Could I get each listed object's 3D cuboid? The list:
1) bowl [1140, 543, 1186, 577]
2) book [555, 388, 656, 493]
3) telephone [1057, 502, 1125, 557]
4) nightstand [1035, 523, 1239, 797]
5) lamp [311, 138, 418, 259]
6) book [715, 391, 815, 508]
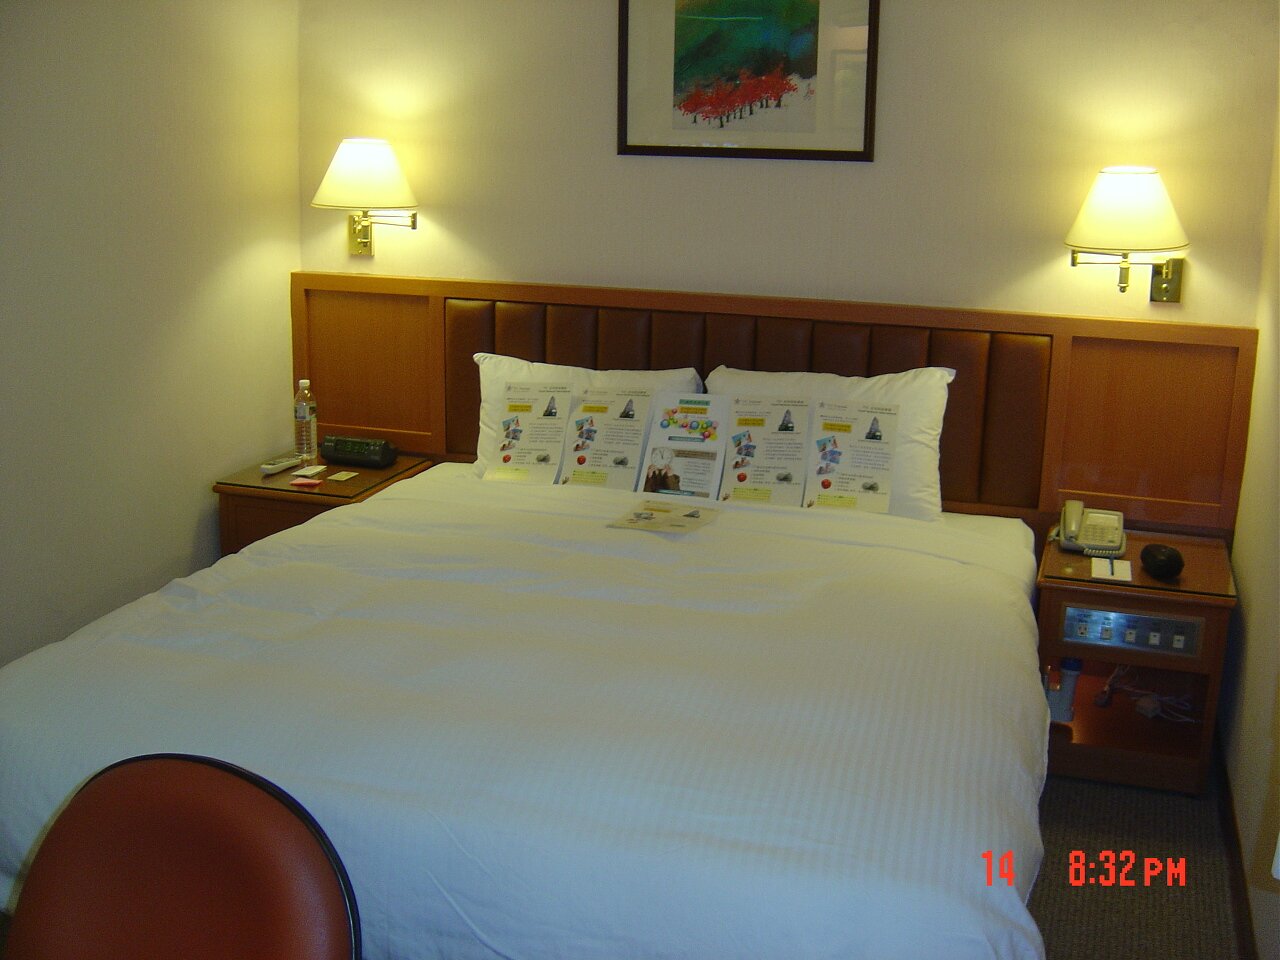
[{"bbox_3d":[1.716,0.265,3.204,0.133,0.106,0.140,3,9,0],"label":"bowl"},{"bbox_3d":[-0.123,-0.138,3.696,0.323,0.458,0.053,6,-20,19],"label":"book"},{"bbox_3d":[1.558,0.176,3.371,0.181,0.204,0.081,5,-36,24],"label":"telephone"},{"bbox_3d":[1.644,0.599,3.234,0.584,0.886,0.557,3,25,14],"label":"nightstand"},{"bbox_3d":[-1.132,-1.178,4.072,0.403,0.503,0.422,1,9,-14],"label":"lamp"},{"bbox_3d":[0.460,-0.095,3.576,0.357,0.511,0.049,4,-25,15],"label":"book"}]
